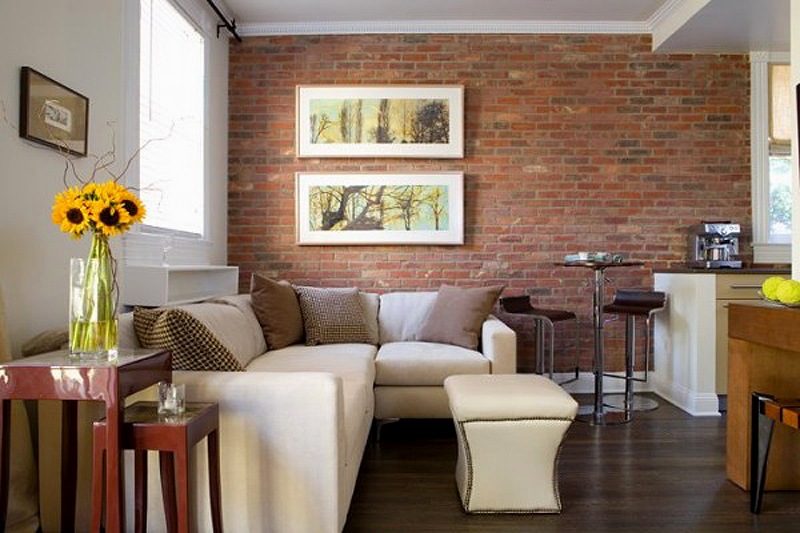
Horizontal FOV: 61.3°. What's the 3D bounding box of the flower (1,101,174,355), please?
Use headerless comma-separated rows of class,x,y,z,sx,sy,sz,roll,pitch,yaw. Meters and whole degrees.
flower,-1.971,-0.285,4.304,0.513,1.577,1.105,-3,2,-28

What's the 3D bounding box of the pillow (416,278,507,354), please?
pillow,0.502,0.427,5.739,0.636,0.571,0.186,4,-30,33

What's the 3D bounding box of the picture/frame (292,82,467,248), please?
picture/frame,-0.181,-0.948,6.283,1.738,1.371,0.055,0,-3,-2

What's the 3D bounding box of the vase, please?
vase,-1.759,0.239,3.857,0.251,0.576,0.150,-3,2,-26

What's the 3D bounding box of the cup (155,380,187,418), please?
cup,-1.280,0.765,3.902,0.186,0.220,0.172,-1,-1,0

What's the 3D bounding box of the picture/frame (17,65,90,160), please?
picture/frame,-2.263,-0.994,4.359,0.099,0.585,0.727,0,-3,20

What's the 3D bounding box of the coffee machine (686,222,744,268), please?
coffee machine,2.851,-0.166,6.320,0.483,0.497,0.443,0,-5,3

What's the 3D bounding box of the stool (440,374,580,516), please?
stool,0.700,1.193,4.572,0.811,0.723,0.874,0,-7,2
